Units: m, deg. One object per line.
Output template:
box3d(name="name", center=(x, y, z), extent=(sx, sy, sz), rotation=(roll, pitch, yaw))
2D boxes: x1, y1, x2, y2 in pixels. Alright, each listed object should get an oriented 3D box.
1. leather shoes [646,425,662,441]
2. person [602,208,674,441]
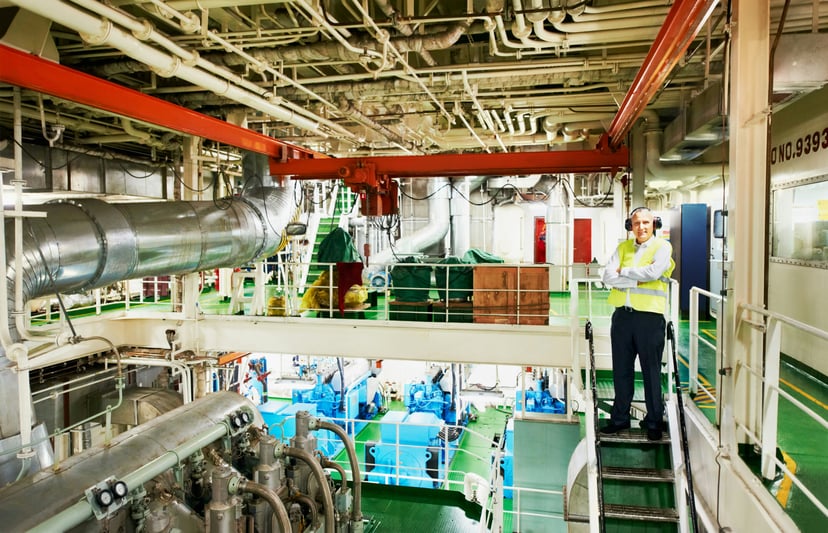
box3d(name="leather shoes", center=(2.628, 1.776, 7.433), extent=(0.192, 0.175, 0.147), rotation=(-1, 1, 12))
box3d(name="person", center=(2.496, 0.593, 7.588), extent=(0.723, 2.486, 0.499), rotation=(-1, 1, 14))
